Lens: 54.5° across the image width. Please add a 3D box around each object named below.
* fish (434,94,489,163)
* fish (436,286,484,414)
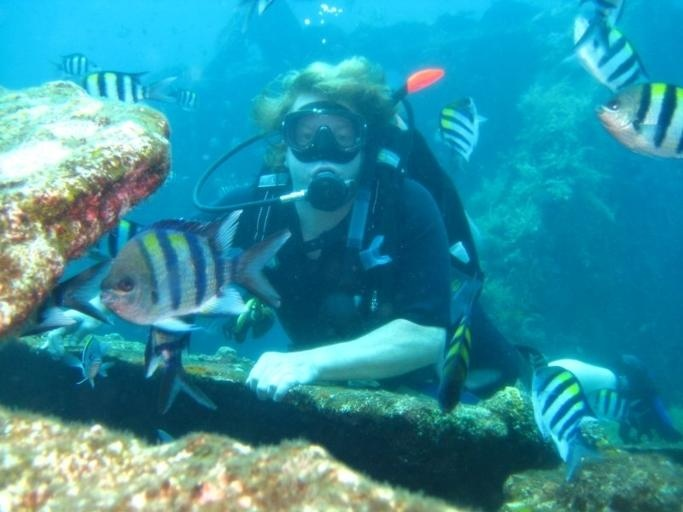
[{"bbox_3d":[1.718,-1.811,9.629,0.579,1.139,0.394,16,2,6],"label":"fish"},{"bbox_3d":[1.346,1.109,7.651,0.231,1.460,0.555,11,-5,7],"label":"fish"}]
